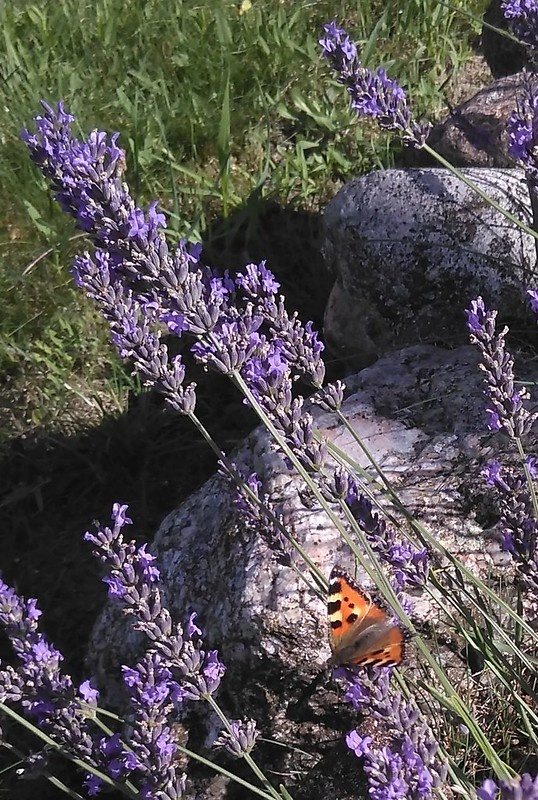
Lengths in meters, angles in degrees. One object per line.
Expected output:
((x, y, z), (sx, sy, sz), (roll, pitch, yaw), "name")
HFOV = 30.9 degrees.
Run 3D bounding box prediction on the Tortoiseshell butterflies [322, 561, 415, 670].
((0.144, 0.323, 1.450), (0.113, 0.129, 0.107), (-6, 29, 6), "Tortoiseshell butterflies")
